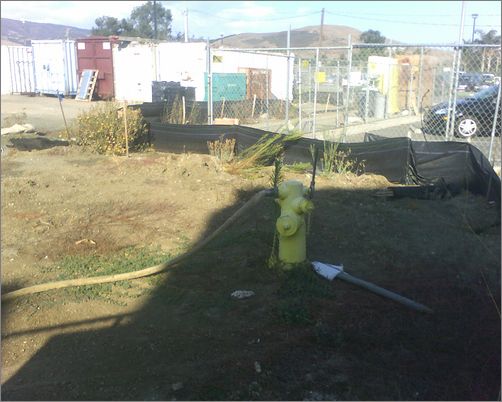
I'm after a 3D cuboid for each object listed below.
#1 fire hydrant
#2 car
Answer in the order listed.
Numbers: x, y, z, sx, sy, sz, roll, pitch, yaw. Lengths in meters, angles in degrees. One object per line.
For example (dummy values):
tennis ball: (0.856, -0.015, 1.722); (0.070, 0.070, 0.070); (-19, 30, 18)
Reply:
fire hydrant: (0.504, 0.287, 5.196); (0.430, 1.026, 0.321); (0, 12, 4)
car: (6.404, -2.636, 12.963); (1.513, 1.578, 2.312); (-10, 16, -35)
